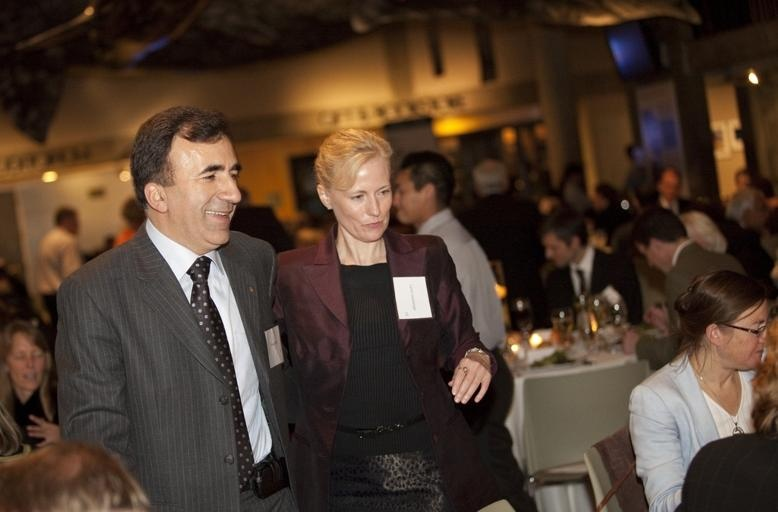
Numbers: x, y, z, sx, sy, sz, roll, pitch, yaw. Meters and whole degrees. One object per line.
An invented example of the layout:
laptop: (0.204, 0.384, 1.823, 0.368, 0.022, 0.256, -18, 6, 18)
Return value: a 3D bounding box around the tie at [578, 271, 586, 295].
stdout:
tie: (1.648, 0.236, 5.481, 0.100, 0.186, 0.051, -9, 6, 17)
